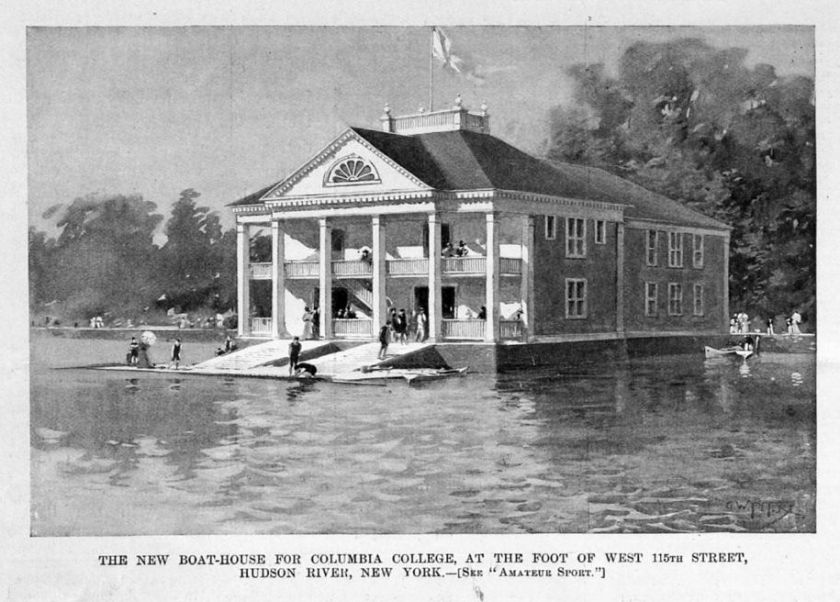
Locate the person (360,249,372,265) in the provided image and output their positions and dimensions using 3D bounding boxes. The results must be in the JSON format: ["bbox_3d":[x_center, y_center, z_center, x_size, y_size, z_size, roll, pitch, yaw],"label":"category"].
[{"bbox_3d":[-2.965,-2.502,63.432,0.638,0.463,0.851,-8,-8,-37],"label":"person"}]

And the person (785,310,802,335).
[{"bbox_3d":[25.816,1.492,78.602,0.736,2.103,1.262,-9,12,-41],"label":"person"}]

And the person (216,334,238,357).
[{"bbox_3d":[-10.883,2.624,64.310,1.151,0.913,2.051,-1,-3,-9],"label":"person"}]

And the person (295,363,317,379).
[{"bbox_3d":[-5.820,3.582,57.911,0.684,0.463,0.940,8,2,43],"label":"person"}]

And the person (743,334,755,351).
[{"bbox_3d":[21.372,2.745,74.087,0.449,0.854,1.340,3,17,15],"label":"person"}]

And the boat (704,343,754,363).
[{"bbox_3d":[19.601,3.595,72.316,3.104,1.216,1.495,-3,6,1],"label":"boat"}]

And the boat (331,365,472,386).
[{"bbox_3d":[-1.142,3.770,56.996,6.674,0.886,1.937,-2,-3,-5],"label":"boat"}]

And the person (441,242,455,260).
[{"bbox_3d":[1.394,-2.763,61.277,0.881,1.492,0.688,-1,1,6],"label":"person"}]

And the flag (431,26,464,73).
[{"bbox_3d":[1.370,-13.466,60.380,0.976,2.694,1.777,0,-3,-26],"label":"flag"}]

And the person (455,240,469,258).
[{"bbox_3d":[2.261,-2.902,61.369,0.665,0.908,1.044,-2,-3,3],"label":"person"}]
